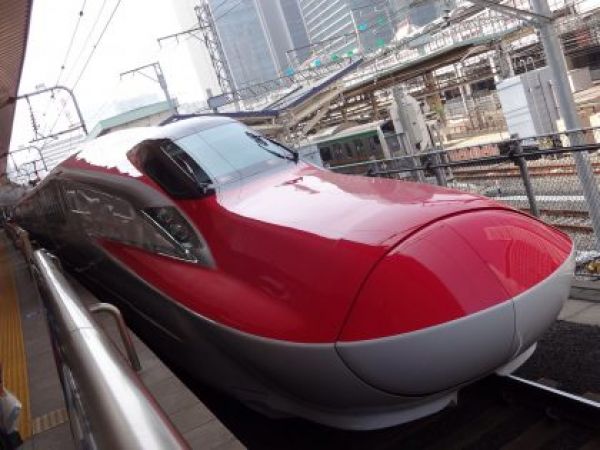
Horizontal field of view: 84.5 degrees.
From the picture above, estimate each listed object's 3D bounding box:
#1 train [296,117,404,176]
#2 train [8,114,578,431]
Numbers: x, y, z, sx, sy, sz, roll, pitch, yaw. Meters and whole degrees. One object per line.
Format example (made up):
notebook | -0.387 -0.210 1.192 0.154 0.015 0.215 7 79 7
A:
train | 3.371 -5.212 23.156 1.900 2.799 8.768 -27 17 -27
train | -1.483 0.334 5.325 2.771 2.127 8.148 -14 12 -34
